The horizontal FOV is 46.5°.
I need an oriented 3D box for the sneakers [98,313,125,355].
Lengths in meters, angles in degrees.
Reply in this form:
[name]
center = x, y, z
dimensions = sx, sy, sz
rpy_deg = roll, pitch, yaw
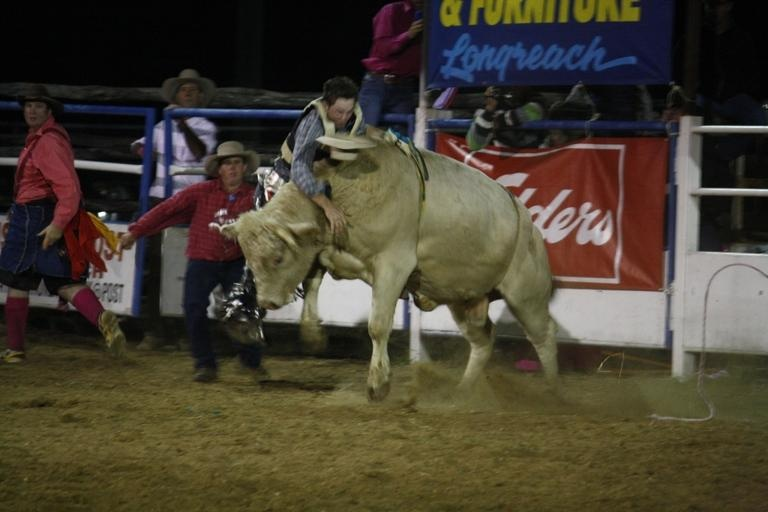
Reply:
[sneakers]
center = -2.578, 0.740, 8.681
dimensions = 0.213, 0.436, 0.205
rpy_deg = -20, 5, -24
